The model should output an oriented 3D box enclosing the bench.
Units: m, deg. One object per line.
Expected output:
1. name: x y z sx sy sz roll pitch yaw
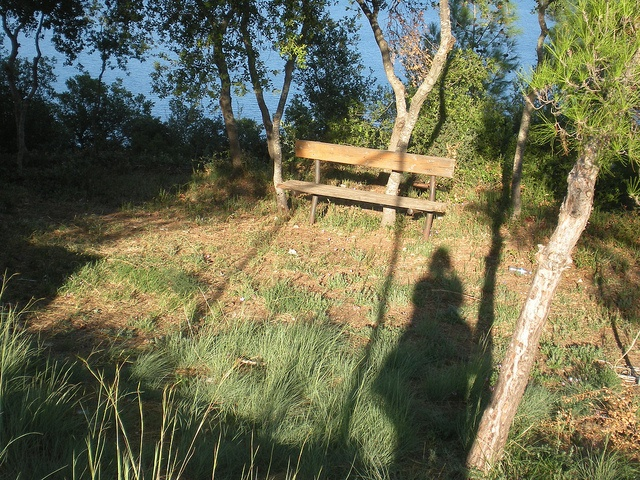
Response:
1. bench: 0.780 -0.674 9.281 2.679 1.620 1.014 8 11 17
